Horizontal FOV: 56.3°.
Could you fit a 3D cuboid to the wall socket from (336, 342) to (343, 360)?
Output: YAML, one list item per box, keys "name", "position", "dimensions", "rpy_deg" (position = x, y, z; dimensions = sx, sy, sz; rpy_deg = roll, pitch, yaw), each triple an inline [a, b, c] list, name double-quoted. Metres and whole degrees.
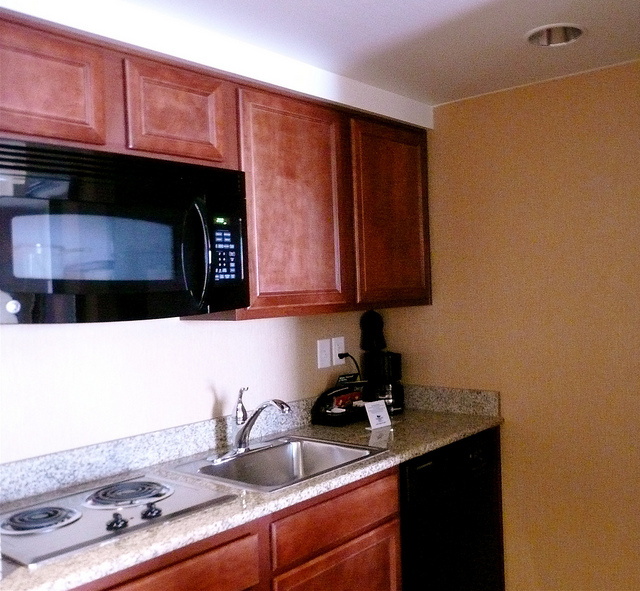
- name: "wall socket"
  position: [0.087, 0.253, 2.746]
  dimensions: [0.012, 0.064, 0.046]
  rpy_deg: [-2, 1, 28]

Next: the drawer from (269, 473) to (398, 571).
- name: "drawer"
  position: [-0.013, 0.658, 1.875]
  dimensions: [0.452, 0.166, 0.317]
  rpy_deg: [0, -1, -43]
